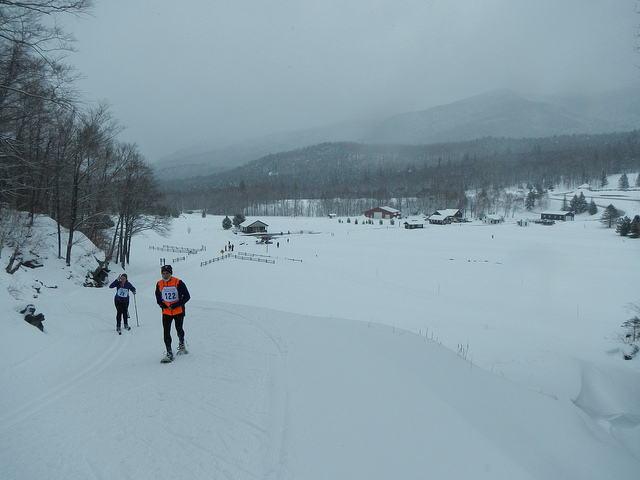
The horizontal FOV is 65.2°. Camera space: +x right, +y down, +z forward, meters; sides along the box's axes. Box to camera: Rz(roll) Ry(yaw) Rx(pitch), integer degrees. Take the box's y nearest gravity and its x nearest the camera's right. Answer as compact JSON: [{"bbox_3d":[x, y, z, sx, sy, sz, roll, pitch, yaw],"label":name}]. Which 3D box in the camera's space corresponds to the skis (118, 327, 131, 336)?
[{"bbox_3d":[-8.010,3.722,20.423,0.175,0.166,0.840,1,-4,-4],"label":"skis"}]
